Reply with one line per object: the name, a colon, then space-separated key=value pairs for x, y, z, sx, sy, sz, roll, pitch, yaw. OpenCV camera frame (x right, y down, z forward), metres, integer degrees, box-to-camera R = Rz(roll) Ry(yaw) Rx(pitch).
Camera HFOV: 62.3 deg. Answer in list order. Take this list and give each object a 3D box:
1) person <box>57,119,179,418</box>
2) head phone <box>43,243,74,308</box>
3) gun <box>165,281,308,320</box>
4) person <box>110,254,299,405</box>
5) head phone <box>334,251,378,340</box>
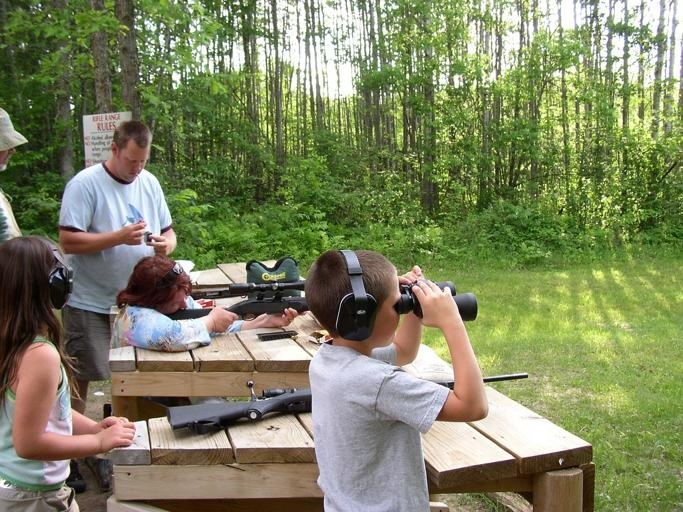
person: x=-1.906 y=-0.077 z=4.799 sx=0.963 sy=2.465 sz=1.024 roll=14 pitch=15 yaw=31
head phone: x=-1.346 y=0.095 z=2.783 sx=0.150 sy=0.287 sz=0.155 roll=-1 pitch=13 yaw=-6
gun: x=-0.599 y=0.292 z=4.216 sx=0.789 sy=0.304 sz=1.085 roll=8 pitch=4 yaw=24
person: x=-1.078 y=0.495 z=4.284 sx=1.217 sy=1.081 sz=1.218 roll=0 pitch=10 yaw=-22
head phone: x=0.038 y=0.147 z=2.422 sx=0.169 sy=0.344 sz=0.426 roll=-5 pitch=3 yaw=-8
